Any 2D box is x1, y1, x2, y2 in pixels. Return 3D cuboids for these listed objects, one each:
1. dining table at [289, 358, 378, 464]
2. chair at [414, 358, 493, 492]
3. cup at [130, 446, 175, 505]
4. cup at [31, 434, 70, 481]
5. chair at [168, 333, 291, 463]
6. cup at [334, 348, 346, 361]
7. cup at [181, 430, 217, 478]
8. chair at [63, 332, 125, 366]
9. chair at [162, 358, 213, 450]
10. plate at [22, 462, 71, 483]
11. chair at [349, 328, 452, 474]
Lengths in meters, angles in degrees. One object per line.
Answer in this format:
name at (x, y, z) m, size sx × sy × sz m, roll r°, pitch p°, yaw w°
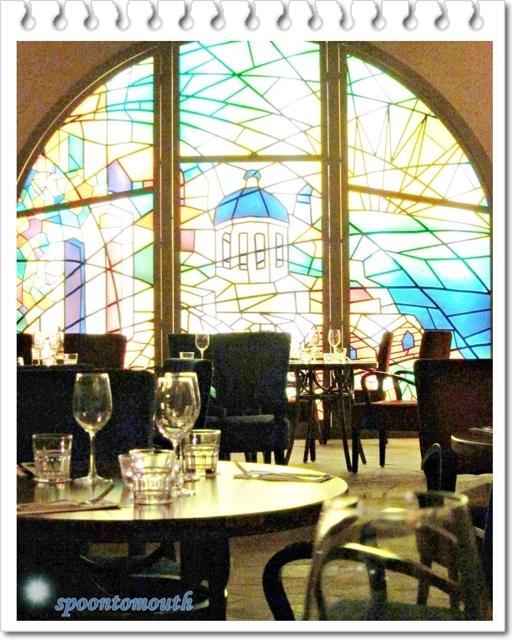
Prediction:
dining table at (0.439, 0.572, 5.072) m, size 0.648 × 0.624 × 0.598 m, roll 0°, pitch -6°, yaw 0°
chair at (0.601, 0.288, 2.322) m, size 0.266 × 0.403 × 0.272 m, roll 0°, pitch 11°, yaw 28°
cup at (-0.154, 0.233, 1.168) m, size 0.069 × 0.076 × 0.069 m, roll -1°, pitch -9°, yaw 0°
cup at (-0.355, 0.241, 1.385) m, size 0.071 × 0.080 × 0.070 m, roll 0°, pitch -4°, yaw 0°
chair at (-0.098, 0.491, 4.053) m, size 0.609 × 0.768 × 0.625 m, roll -5°, pitch -12°, yaw 14°
cup at (0.520, 0.213, 4.851) m, size 0.036 × 0.064 × 0.069 m, roll -6°, pitch -8°, yaw 42°
cup at (-0.093, 0.239, 1.439) m, size 0.063 × 0.073 × 0.065 m, roll -2°, pitch -6°, yaw 0°
chair at (-0.984, 0.183, 4.830) m, size 0.189 × 0.241 × 0.207 m, roll 2°, pitch 0°, yaw 0°
chair at (-0.256, 0.270, 2.785) m, size 0.155 × 0.291 × 0.174 m, roll 2°, pitch 3°, yaw -21°
plate at (-0.371, 0.265, 1.388) m, size 0.060 × 0.040 × 0.053 m, roll -3°, pitch -9°, yaw 14°
chair at (0.822, 0.488, 4.777) m, size 0.604 × 0.836 × 0.599 m, roll 0°, pitch -2°, yaw -10°
